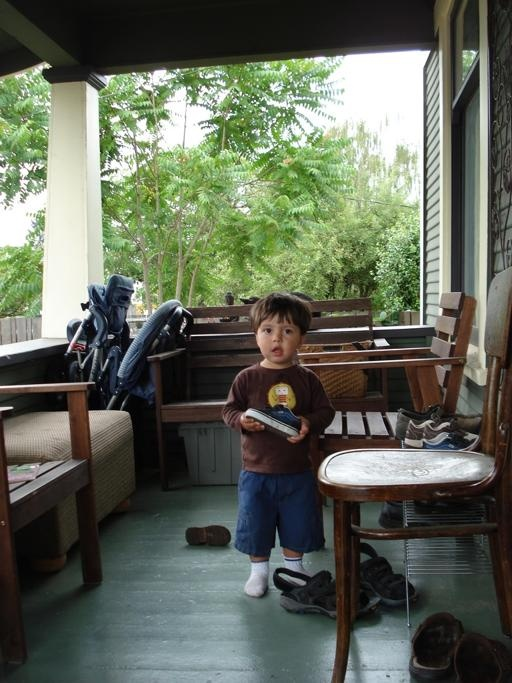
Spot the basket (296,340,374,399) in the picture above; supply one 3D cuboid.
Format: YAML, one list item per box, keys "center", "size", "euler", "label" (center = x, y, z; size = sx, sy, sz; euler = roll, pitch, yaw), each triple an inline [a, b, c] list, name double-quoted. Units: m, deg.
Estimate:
- center: [0.498, 0.229, 3.008]
  size: [0.427, 0.359, 0.346]
  euler: [-3, -6, 1]
  label: "basket"

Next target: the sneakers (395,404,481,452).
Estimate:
- center: [0.574, 0.281, 1.571]
  size: [0.227, 0.084, 0.164]
  euler: [1, 2, -32]
  label: "sneakers"

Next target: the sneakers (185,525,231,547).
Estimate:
- center: [-0.188, 0.799, 2.065]
  size: [0.195, 0.087, 0.088]
  euler: [4, 1, 8]
  label: "sneakers"

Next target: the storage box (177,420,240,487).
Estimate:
- center: [-0.250, 0.620, 3.195]
  size: [0.422, 0.475, 0.603]
  euler: [-2, 13, 1]
  label: "storage box"

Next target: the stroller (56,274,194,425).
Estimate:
- center: [-0.831, -0.001, 3.066]
  size: [0.653, 0.801, 0.543]
  euler: [19, 9, 2]
  label: "stroller"

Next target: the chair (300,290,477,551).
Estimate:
- center: [0.616, 0.198, 2.332]
  size: [0.800, 1.040, 0.809]
  euler: [0, 5, 5]
  label: "chair"
